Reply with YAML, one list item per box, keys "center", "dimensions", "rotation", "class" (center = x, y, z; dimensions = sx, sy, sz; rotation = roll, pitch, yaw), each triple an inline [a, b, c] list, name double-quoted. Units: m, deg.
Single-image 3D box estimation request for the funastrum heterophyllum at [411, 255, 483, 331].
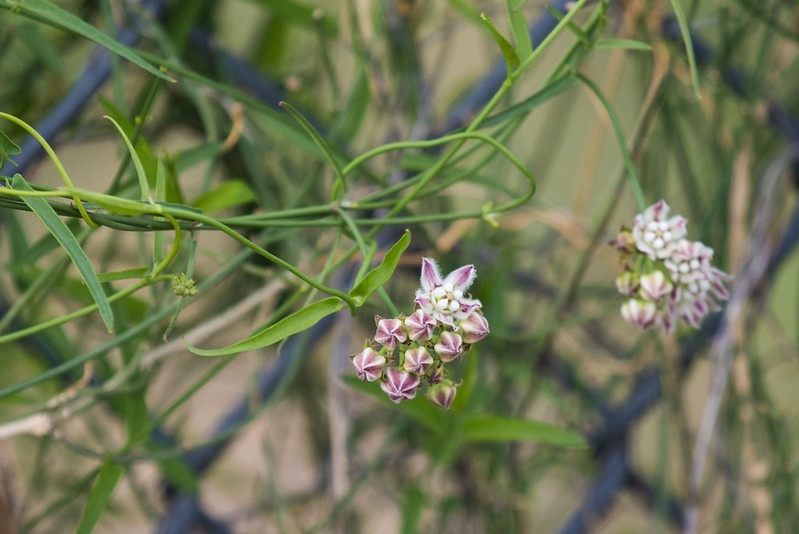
- center: [0.035, 0.017, 0.911]
  dimensions: [0.095, 0.048, 0.090]
  rotation: [8, 9, -16]
  class: "funastrum heterophyllum"
